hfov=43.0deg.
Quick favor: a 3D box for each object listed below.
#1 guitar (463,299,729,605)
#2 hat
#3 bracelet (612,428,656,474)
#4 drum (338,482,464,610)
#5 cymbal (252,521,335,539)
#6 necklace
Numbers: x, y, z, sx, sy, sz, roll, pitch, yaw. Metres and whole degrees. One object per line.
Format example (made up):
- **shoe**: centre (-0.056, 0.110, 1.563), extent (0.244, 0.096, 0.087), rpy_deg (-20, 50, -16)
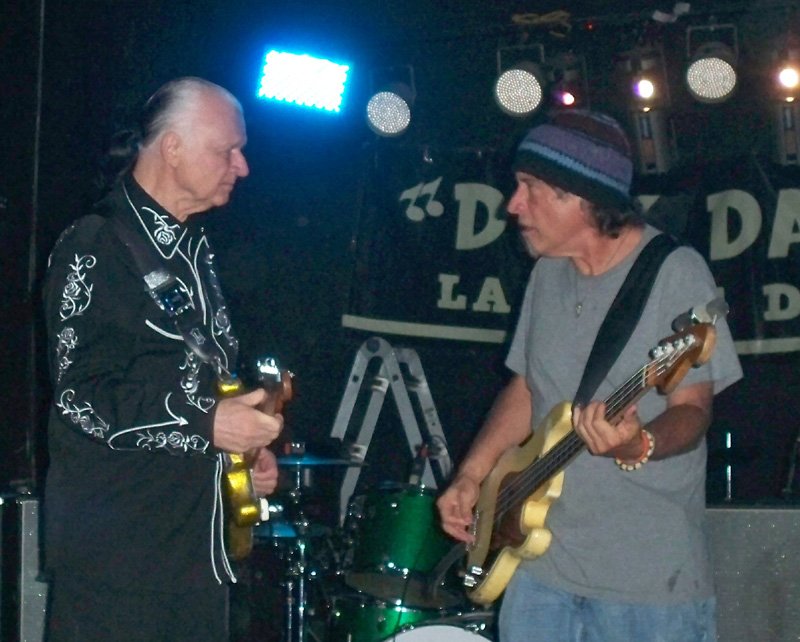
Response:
- **guitar**: centre (0.830, 0.571, 4.188), extent (0.275, 0.587, 1.567), rpy_deg (17, -37, -17)
- **hat**: centre (0.751, -0.755, 4.463), extent (0.553, 0.366, 0.474), rpy_deg (24, 15, 7)
- **bracelet**: centre (0.902, 0.496, 3.940), extent (0.054, 0.161, 0.148), rpy_deg (22, 35, 20)
- **drum**: centre (-0.029, 1.175, 5.601), extent (0.557, 0.516, 0.536), rpy_deg (-7, -17, 42)
- **cymbal**: centre (-0.643, 1.213, 5.897), extent (0.291, 0.061, 0.293), rpy_deg (-5, -9, 38)
- **necklace**: centre (0.865, -0.204, 4.277), extent (0.261, 0.389, 0.105), rpy_deg (19, 1, 12)
